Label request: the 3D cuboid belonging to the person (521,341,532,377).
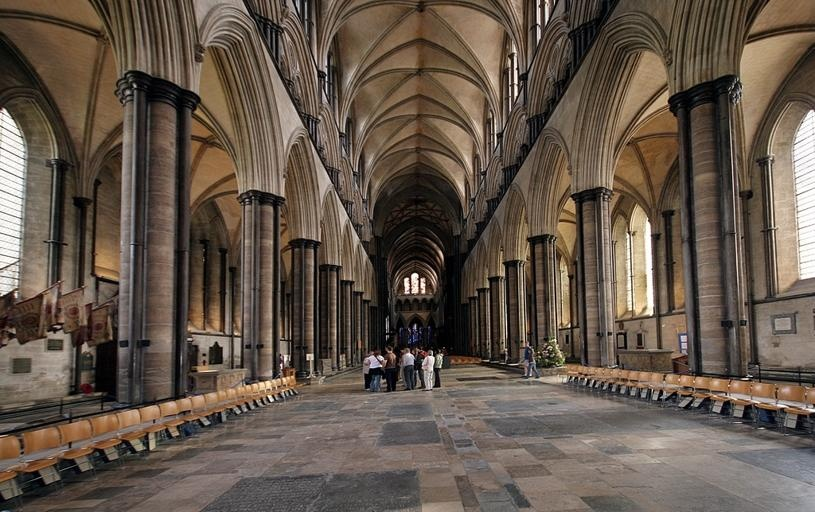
[{"bbox_3d":[5.181,4.564,24.821,0.388,1.467,1.199,-2,-1,11],"label":"person"}]
